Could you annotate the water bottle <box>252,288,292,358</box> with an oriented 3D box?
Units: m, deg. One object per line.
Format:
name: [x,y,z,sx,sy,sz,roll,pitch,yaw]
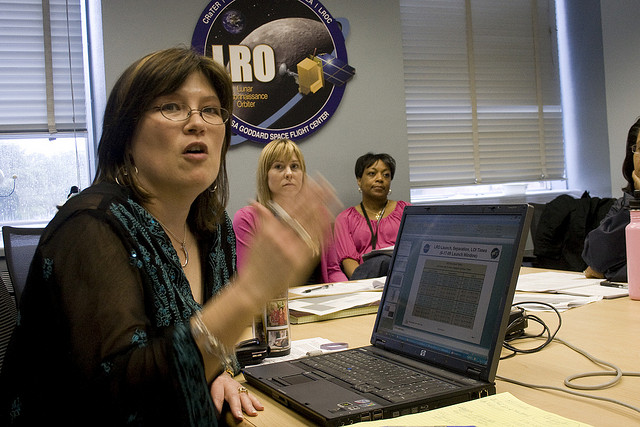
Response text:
water bottle: [-0.131,0.311,1.326,0.124,0.215,0.105,5,5,-13]

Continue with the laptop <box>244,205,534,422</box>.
laptop: [0.184,0.236,1.122,0.384,0.555,0.507,20,-9,-25]

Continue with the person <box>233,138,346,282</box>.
person: [-0.206,0.079,2.838,0.681,1.054,0.593,-2,-11,-23]
